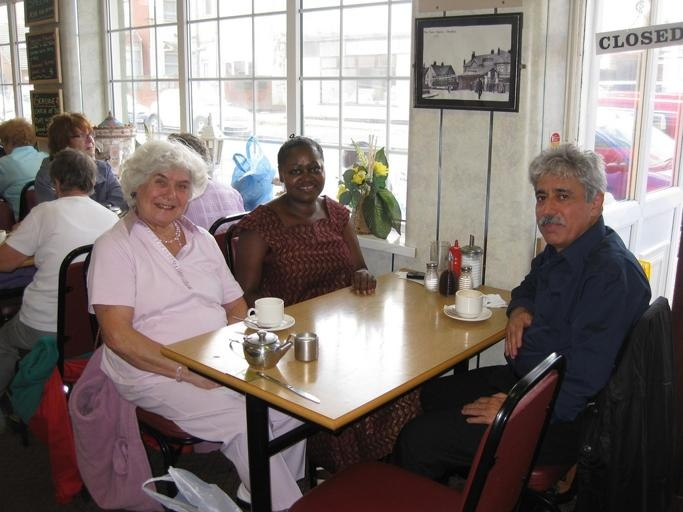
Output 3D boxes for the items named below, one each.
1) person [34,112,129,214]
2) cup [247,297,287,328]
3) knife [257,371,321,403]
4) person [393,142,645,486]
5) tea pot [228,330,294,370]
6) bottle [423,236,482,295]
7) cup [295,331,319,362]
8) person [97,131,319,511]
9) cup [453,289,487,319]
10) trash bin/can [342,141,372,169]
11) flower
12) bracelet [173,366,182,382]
[{"bbox_3d":[-1.940,-0.632,3.983,0.613,0.913,0.557,-5,7,-42],"label":"person"},{"bbox_3d":[-0.273,0.216,1.994,0.111,0.086,0.085,-7,19,-22],"label":"cup"},{"bbox_3d":[-0.164,0.403,1.614,0.032,0.011,0.229,-29,31,-36],"label":"knife"},{"bbox_3d":[0.662,0.186,1.959,0.792,1.215,0.548,1,8,0],"label":"person"},{"bbox_3d":[-0.263,0.303,1.727,0.199,0.115,0.125,3,10,14],"label":"tea pot"},{"bbox_3d":[0.523,0.046,2.491,0.288,0.313,0.173,-1,10,-1],"label":"bottle"},{"bbox_3d":[-0.117,0.306,1.770,0.057,0.080,0.102,-1,4,-3],"label":"cup"},{"bbox_3d":[-0.624,0.123,2.105,0.653,1.174,0.485,3,9,14],"label":"person"},{"bbox_3d":[0.513,0.186,2.107,0.086,0.091,0.116,-3,7,-17],"label":"cup"},{"bbox_3d":[0.075,-0.686,3.362,0.187,0.199,0.188,9,21,25],"label":"trash bin/can"},{"bbox_3d":[0.159,-0.426,3.044,0.385,0.563,0.451,-4,11,-35],"label":"flower"},{"bbox_3d":[-0.605,0.433,1.952,0.034,0.046,0.046,6,3,4],"label":"bracelet"}]
